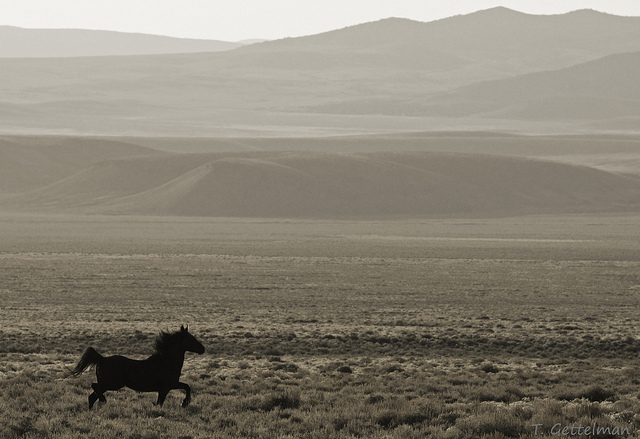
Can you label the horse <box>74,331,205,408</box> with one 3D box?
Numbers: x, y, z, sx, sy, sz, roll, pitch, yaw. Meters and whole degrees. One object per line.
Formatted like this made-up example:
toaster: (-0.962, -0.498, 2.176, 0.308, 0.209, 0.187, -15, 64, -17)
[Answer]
horse: (-15.727, 13.196, 112.709, 2.678, 3.138, 7.471, 25, 51, 36)
